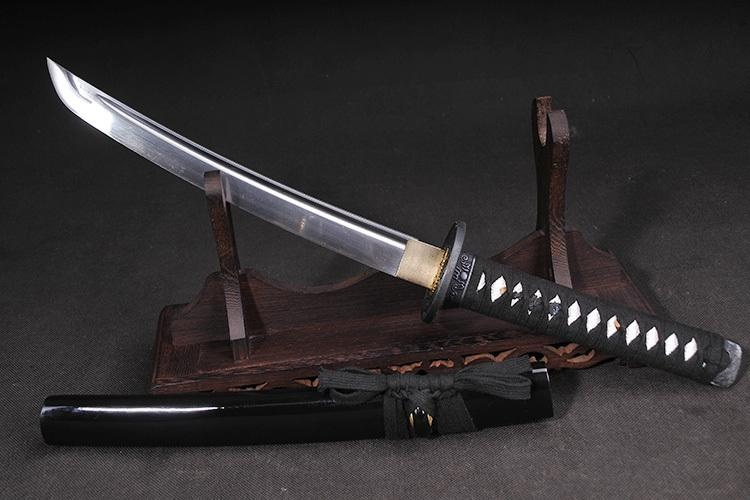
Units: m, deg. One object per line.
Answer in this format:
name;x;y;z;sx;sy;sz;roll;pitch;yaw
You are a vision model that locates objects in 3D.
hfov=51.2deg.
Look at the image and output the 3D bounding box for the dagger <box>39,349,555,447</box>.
dagger;-0.278;0.623;3.079;1.951;0.336;0.307;-2;5;-6
